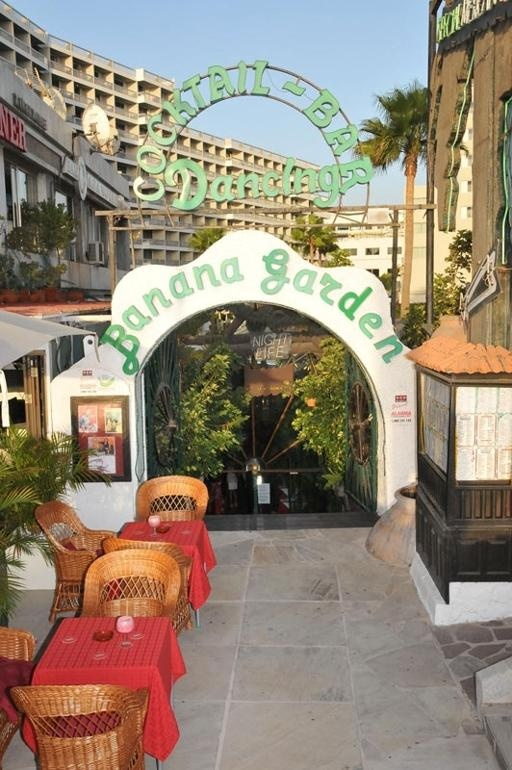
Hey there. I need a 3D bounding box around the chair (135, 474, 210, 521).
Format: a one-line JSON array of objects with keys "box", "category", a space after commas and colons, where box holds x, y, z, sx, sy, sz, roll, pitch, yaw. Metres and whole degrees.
[{"box": [-0.923, 1.271, 7.414, 0.817, 0.920, 0.704, -1, -7, -3], "category": "chair"}]

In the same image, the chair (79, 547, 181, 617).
[{"box": [-0.925, 1.492, 4.894, 0.556, 0.621, 0.605, 0, -11, -3], "category": "chair"}]

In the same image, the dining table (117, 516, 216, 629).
[{"box": [-0.672, 1.646, 5.990, 0.783, 0.443, 0.781, 0, 3, 8], "category": "dining table"}]

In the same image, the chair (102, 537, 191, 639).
[{"box": [-0.777, 1.635, 5.419, 0.771, 1.088, 0.753, 1, -7, -9], "category": "chair"}]

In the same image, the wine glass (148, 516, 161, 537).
[{"box": [-0.943, 1.337, 6.176, 0.134, 0.210, 0.124, 4, -3, -27], "category": "wine glass"}]
